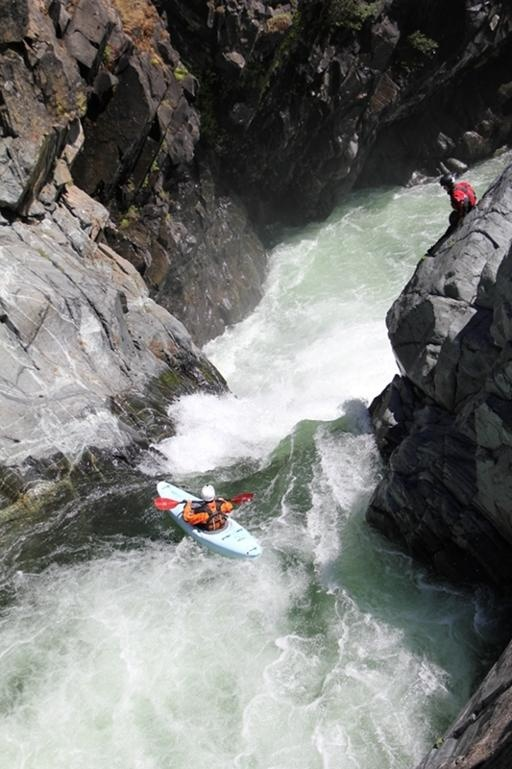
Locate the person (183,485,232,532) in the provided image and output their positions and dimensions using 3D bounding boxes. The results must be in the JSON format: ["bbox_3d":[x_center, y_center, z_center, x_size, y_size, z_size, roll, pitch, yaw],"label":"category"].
[{"bbox_3d":[-0.866,2.237,12.325,0.623,0.484,0.970,-4,18,-11],"label":"person"}]

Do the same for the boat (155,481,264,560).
[{"bbox_3d":[-0.972,2.459,12.641,0.837,0.513,2.566,-19,32,-30],"label":"boat"}]

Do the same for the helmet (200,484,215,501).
[{"bbox_3d":[-0.860,1.936,12.468,0.244,0.277,0.306,-3,40,0],"label":"helmet"}]

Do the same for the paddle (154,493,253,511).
[{"bbox_3d":[-1.025,2.201,12.894,1.341,0.138,0.353,-8,18,7],"label":"paddle"}]
